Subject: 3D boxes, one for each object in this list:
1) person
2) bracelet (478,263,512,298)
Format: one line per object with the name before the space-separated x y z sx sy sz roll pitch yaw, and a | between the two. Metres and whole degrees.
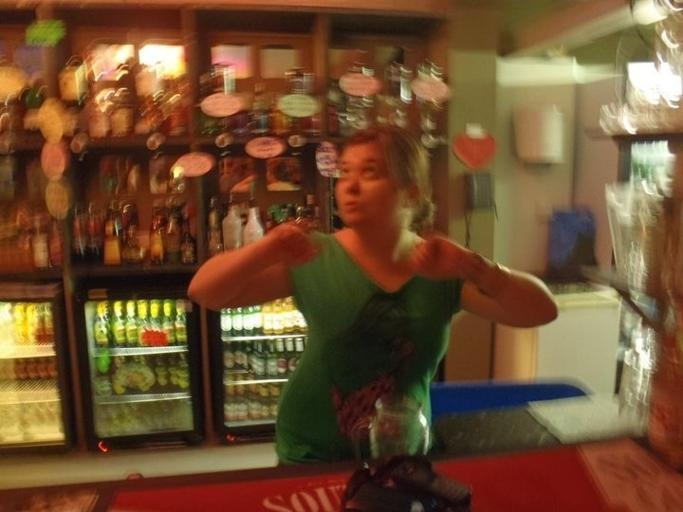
person | 0.063 0.103 1.420 0.789 0.788 0.318 -4 4 -17
bracelet | 0.328 0.049 1.392 0.081 0.080 0.049 -9 23 -10
